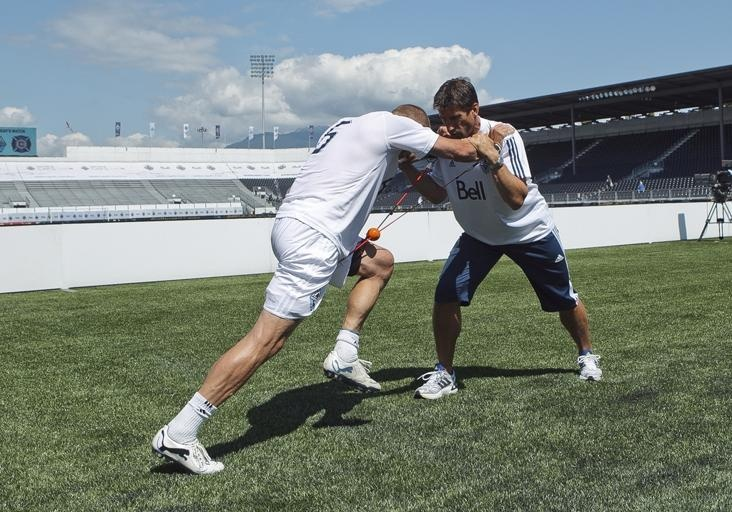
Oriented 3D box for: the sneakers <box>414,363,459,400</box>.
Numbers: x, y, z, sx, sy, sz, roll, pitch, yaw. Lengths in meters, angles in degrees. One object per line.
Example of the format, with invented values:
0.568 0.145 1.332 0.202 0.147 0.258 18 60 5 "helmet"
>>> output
0.501 0.904 5.087 0.171 0.159 0.324 -7 -9 39 "sneakers"
